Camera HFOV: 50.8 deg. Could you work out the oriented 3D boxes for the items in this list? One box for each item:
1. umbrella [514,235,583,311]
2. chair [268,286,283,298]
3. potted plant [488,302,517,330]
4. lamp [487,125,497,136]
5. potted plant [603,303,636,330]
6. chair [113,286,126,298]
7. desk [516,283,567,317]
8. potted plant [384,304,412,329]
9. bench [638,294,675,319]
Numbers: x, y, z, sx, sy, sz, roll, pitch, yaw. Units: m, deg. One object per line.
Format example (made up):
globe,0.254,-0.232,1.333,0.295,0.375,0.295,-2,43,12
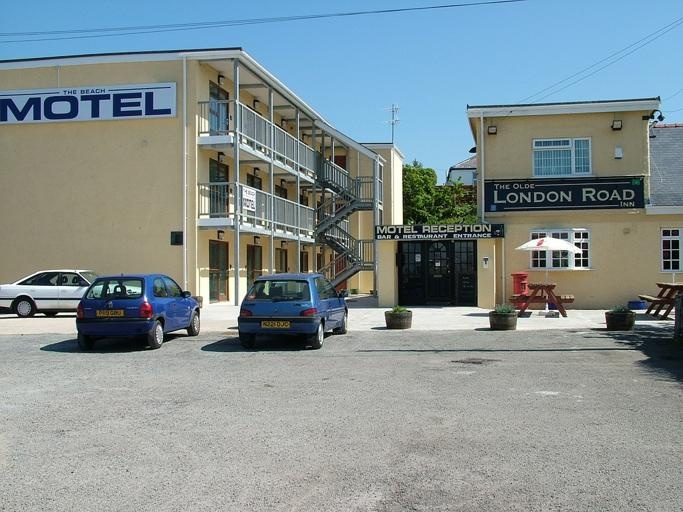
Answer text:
umbrella,6.315,0.532,22.788,2.372,2.818,2.458,-2,-2,19
chair,-1.399,0.781,15.559,0.324,0.351,0.175,0,-1,10
potted plant,4.263,1.604,18.972,0.602,0.624,0.628,-1,-4,10
lamp,5.452,-4.557,26.331,0.484,0.504,0.263,0,2,9
potted plant,7.106,1.580,18.367,0.582,0.441,0.587,-1,-3,4
chair,-4.742,0.785,15.468,0.258,0.274,0.235,2,-8,-3
desk,6.073,1.254,21.968,1.266,0.728,1.422,-2,-3,15
potted plant,1.539,1.650,19.376,0.559,0.440,0.586,-1,-3,8
bench,10.010,1.591,22.969,0.873,0.671,4.433,-1,-2,23
